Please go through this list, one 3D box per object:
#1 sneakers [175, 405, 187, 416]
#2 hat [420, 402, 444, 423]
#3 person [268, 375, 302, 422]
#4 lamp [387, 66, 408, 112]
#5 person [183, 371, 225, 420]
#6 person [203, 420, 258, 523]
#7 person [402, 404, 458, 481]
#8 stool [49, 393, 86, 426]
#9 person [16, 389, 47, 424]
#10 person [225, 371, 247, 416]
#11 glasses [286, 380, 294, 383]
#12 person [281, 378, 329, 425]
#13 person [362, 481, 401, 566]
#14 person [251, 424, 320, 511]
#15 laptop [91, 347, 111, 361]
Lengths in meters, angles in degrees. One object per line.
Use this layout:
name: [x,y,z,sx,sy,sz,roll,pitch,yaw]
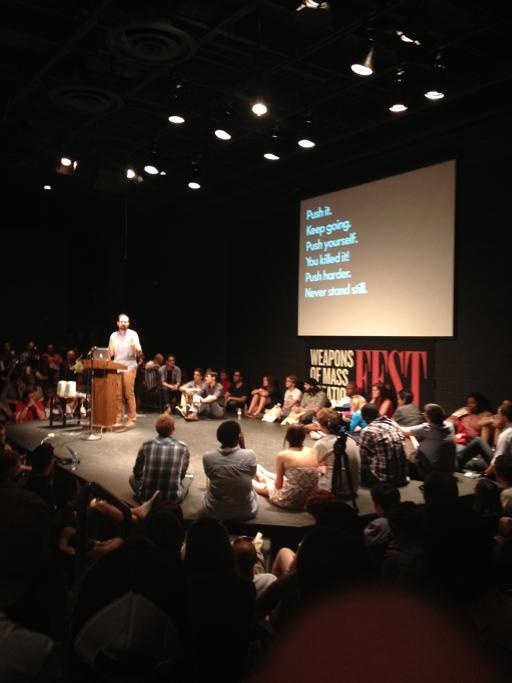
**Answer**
sneakers: [-1.300,1.197,9.308,0.080,0.211,0.141,-25,44,-2]
hat: [1.684,0.709,5.173,0.181,0.206,0.213,-2,33,7]
person: [0.427,0.949,9.042,0.680,0.681,0.431,-1,1,-31]
lamp: [1.581,-2.962,6.192,0.162,0.276,0.150,-1,1,21]
person: [-0.908,0.927,9.096,0.843,0.780,0.710,-2,12,-19]
person: [-0.198,0.960,4.010,0.412,0.770,0.291,0,1,-5]
person: [1.610,0.979,5.153,0.409,0.734,0.365,1,1,37]
stool: [-2.762,0.983,7.968,0.507,0.491,1.307,0,1,-17]
person: [-3.555,1.039,8.510,0.449,0.771,0.455,5,-10,-37]
person: [-0.380,0.956,10.101,0.404,0.732,1.094,0,1,-1]
glasses: [0.563,0.680,9.088,0.065,0.055,0.078,-5,-19,37]
person: [0.718,1.022,8.619,0.787,0.716,0.553,-9,9,-35]
person: [0.705,1.036,3.074,0.195,0.438,0.705,0,1,11]
person: [0.252,0.988,4.247,0.280,0.707,0.421,0,1,-39]
laptop: [-1.949,0.164,6.773,0.278,0.196,0.150,2,-4,-37]
